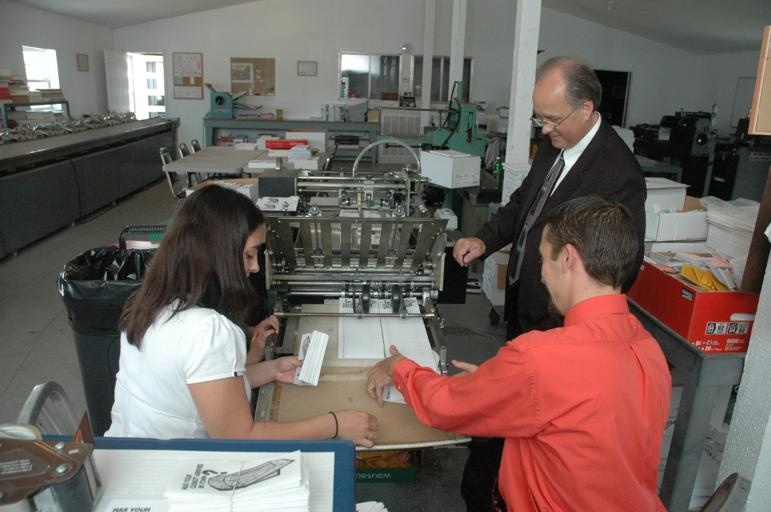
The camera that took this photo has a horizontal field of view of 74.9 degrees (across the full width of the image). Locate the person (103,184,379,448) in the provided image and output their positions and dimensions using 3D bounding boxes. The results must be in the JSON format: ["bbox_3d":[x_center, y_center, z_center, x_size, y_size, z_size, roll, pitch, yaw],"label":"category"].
[{"bbox_3d":[-0.549,0.270,2.036,0.724,1.202,0.660,-18,45,-30],"label":"person"}]

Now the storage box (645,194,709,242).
[{"bbox_3d":[1.590,-0.210,2.763,0.236,0.147,0.237,0,13,7],"label":"storage box"}]

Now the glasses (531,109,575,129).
[{"bbox_3d":[0.765,-0.620,2.268,0.141,0.043,0.135,-29,37,-20],"label":"glasses"}]

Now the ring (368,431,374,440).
[{"bbox_3d":[-0.055,0.659,1.852,0.020,0.013,0.027,4,19,4],"label":"ring"}]

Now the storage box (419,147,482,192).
[{"bbox_3d":[0.641,-0.846,4.860,0.505,0.345,0.510,-4,17,-20],"label":"storage box"}]
